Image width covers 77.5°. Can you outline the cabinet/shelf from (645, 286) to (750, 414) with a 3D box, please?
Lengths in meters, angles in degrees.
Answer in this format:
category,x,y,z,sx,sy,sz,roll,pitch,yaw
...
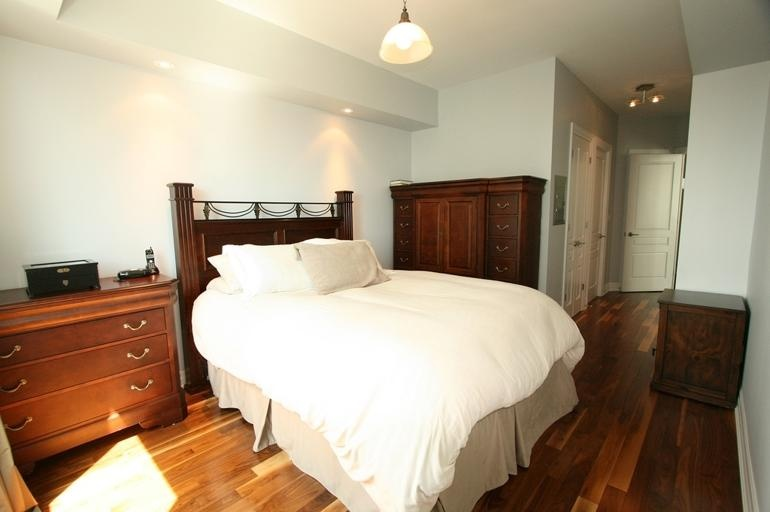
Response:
category,x,y,z,sx,sy,sz,roll,pitch,yaw
cabinet/shelf,2.979,0.836,4.536,0.816,0.864,0.852,0,10,-11

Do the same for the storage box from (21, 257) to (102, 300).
category,x,y,z,sx,sy,sz,roll,pitch,yaw
storage box,-2.539,0.180,3.792,0.464,0.227,0.254,-8,9,-38

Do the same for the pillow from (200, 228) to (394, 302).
category,x,y,z,sx,sy,sz,roll,pitch,yaw
pillow,-0.771,0.100,4.370,0.957,0.303,0.752,-3,17,-29

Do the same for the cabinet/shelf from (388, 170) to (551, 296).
category,x,y,z,sx,sy,sz,roll,pitch,yaw
cabinet/shelf,1.044,-0.264,5.479,1.411,1.309,0.549,3,5,36
